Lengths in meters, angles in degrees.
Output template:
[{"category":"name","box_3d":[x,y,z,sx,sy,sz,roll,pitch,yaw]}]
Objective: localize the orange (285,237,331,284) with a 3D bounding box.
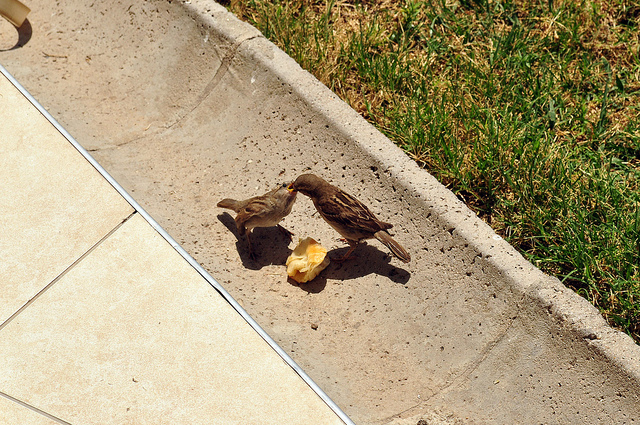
[{"category":"orange","box_3d":[-0.116,0.452,7.890,0.327,0.155,0.427,36,82,3]}]

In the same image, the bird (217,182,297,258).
[{"category":"bird","box_3d":[-0.532,0.003,8.019,0.679,0.564,0.625,-28,75,-12]}]
